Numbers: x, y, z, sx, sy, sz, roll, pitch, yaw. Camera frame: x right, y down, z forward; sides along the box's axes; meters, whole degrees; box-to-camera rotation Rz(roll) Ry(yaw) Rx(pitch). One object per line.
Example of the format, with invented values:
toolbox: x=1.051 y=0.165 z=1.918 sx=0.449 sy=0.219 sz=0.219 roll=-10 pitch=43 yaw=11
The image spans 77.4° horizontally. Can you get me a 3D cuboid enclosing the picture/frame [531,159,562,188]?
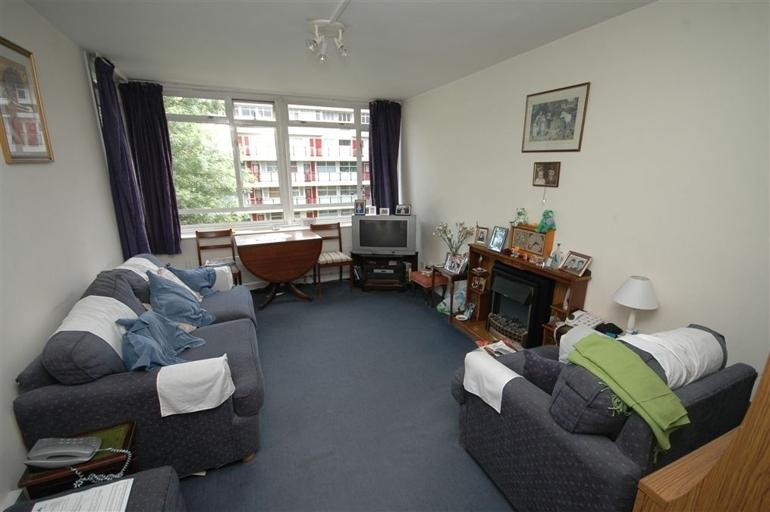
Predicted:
picture/frame: x=1.568 y=-0.797 z=4.599 sx=0.022 sy=0.307 sz=0.297 roll=-8 pitch=4 yaw=-33

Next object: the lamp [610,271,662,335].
lamp: x=2.115 y=0.387 z=3.998 sx=0.331 sy=0.575 sz=0.331 roll=-13 pitch=17 yaw=-17

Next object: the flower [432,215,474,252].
flower: x=0.875 y=-0.260 z=5.860 sx=0.350 sy=0.330 sz=0.380 roll=0 pitch=0 yaw=-14

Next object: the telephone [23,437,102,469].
telephone: x=-2.178 y=1.320 z=3.254 sx=0.329 sy=0.114 sz=0.236 roll=5 pitch=2 yaw=-20

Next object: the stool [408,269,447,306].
stool: x=0.573 y=0.334 z=6.114 sx=0.365 sy=0.349 sz=0.522 roll=-1 pitch=7 yaw=-18

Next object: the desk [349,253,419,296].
desk: x=-0.006 y=0.193 z=6.595 sx=0.899 sy=0.486 sz=0.381 roll=1 pitch=11 yaw=0

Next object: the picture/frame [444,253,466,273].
picture/frame: x=0.837 y=0.063 z=5.660 sx=0.237 sy=0.187 sz=0.368 roll=0 pitch=11 yaw=-7

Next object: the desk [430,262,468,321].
desk: x=0.756 y=0.381 z=5.926 sx=0.461 sy=0.593 sz=0.599 roll=14 pitch=22 yaw=23

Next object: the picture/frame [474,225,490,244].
picture/frame: x=1.096 y=-0.247 z=5.335 sx=0.020 sy=0.188 sz=0.157 roll=1 pitch=20 yaw=-33

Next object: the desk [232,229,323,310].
desk: x=-1.328 y=-0.066 z=6.114 sx=1.357 sy=1.071 sz=0.827 roll=-5 pitch=15 yaw=-24

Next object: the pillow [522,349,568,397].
pillow: x=1.177 y=0.823 z=3.508 sx=0.126 sy=0.302 sz=0.282 roll=-5 pitch=18 yaw=-40

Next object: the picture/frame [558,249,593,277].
picture/frame: x=1.769 y=0.062 z=4.406 sx=0.016 sy=0.210 sz=0.204 roll=33 pitch=6 yaw=-33

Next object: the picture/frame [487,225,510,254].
picture/frame: x=1.219 y=-0.177 z=5.060 sx=0.038 sy=0.380 sz=0.305 roll=16 pitch=-5 yaw=-22

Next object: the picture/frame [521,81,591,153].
picture/frame: x=1.628 y=-1.303 z=4.470 sx=0.048 sy=0.619 sz=0.688 roll=-5 pitch=12 yaw=-39

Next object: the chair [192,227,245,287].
chair: x=-2.103 y=-0.040 z=6.082 sx=0.586 sy=1.085 sz=0.680 roll=-5 pitch=14 yaw=-21
